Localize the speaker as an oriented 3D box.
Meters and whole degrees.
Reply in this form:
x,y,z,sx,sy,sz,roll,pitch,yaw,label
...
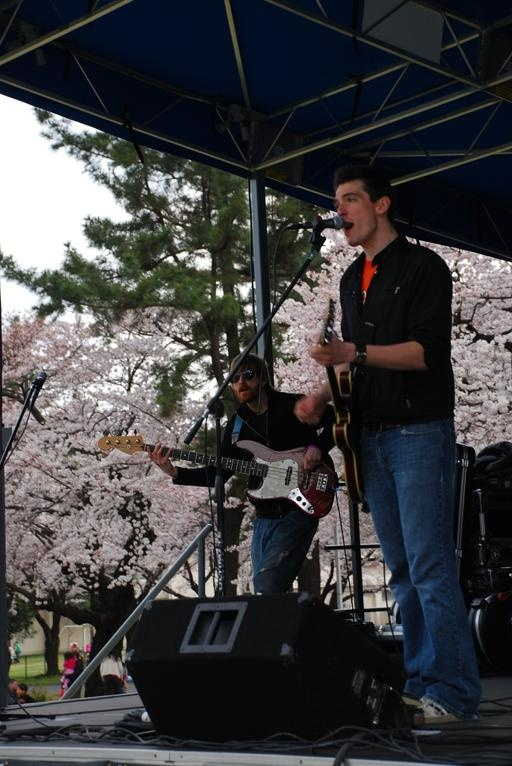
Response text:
x,y,z,sx,sy,sz,roll,pitch,yaw,label
0.056,0.722,2.719,0.592,0.333,0.494,-3,-38,25,speaker

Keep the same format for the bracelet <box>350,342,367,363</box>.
x,y,z,sx,sy,sz,roll,pitch,yaw,label
0.305,-0.089,3.043,0.045,0.051,0.058,-2,-8,2,bracelet

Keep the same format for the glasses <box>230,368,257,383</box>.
x,y,z,sx,sy,sz,roll,pitch,yaw,label
-0.057,-0.028,4.275,0.107,0.055,0.054,-7,-9,33,glasses

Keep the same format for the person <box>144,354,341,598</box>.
x,y,z,sx,sy,sz,roll,pitch,yaw,label
-0.205,0.783,7.790,0.670,1.295,3.761,0,-7,30,person
